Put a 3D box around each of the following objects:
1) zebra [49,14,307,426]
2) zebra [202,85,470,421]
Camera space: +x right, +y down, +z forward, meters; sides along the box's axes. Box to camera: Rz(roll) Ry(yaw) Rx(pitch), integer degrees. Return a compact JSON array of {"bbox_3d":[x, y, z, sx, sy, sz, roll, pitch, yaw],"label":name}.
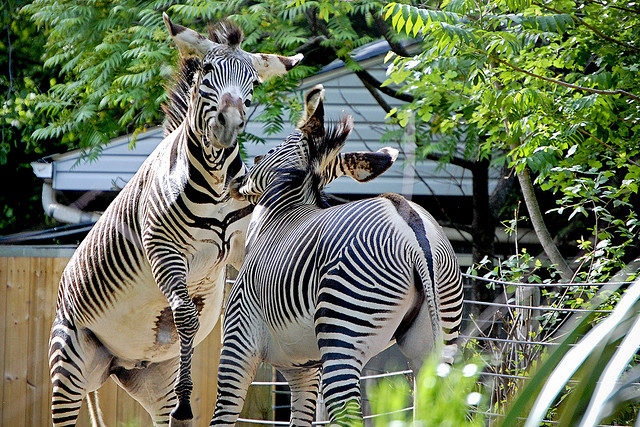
[{"bbox_3d":[-1.468,0.099,13.717,1.395,4.730,2.739,11,25,-37],"label":"zebra"},{"bbox_3d":[0.188,0.552,12.075,2.137,2.983,1.575,5,17,4],"label":"zebra"}]
